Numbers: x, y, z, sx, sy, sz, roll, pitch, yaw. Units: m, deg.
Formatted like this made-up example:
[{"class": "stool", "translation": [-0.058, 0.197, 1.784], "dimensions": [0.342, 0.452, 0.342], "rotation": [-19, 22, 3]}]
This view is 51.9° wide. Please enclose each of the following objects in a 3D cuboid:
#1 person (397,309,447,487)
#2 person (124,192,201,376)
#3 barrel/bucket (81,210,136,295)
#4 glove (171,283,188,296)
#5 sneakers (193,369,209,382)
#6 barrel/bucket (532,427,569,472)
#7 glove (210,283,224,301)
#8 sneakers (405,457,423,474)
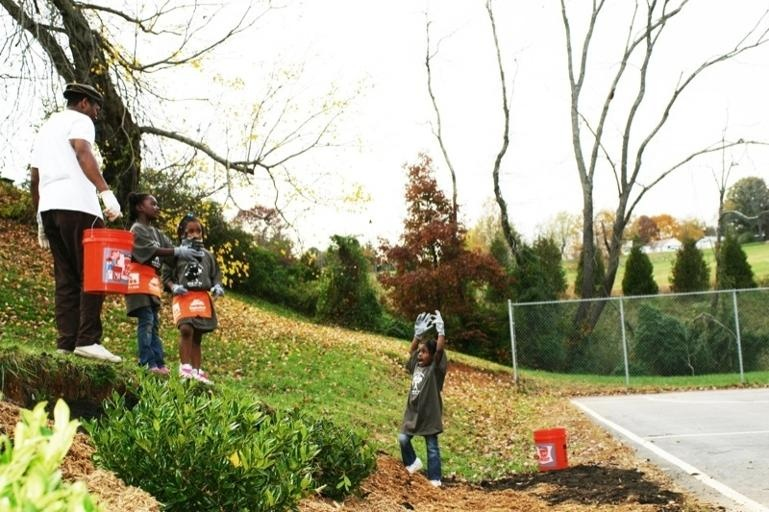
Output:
[{"class": "person", "translation": [0.647, 2.354, 13.401], "dimensions": [0.755, 2.920, 1.141], "rotation": [1, -6, 4]}, {"class": "person", "translation": [-3.842, 0.393, 12.840], "dimensions": [0.762, 2.985, 0.730], "rotation": [3, -7, -19]}, {"class": "barrel/bucket", "translation": [-4.149, 0.057, 11.809], "dimensions": [0.766, 0.839, 0.763], "rotation": [1, -7, 0]}, {"class": "glove", "translation": [-3.384, 0.534, 12.803], "dimensions": [0.331, 0.182, 0.201], "rotation": [-4, -9, 32]}, {"class": "sneakers", "translation": [-2.941, 1.914, 12.558], "dimensions": [0.118, 0.247, 0.250], "rotation": [-19, -15, -10]}, {"class": "barrel/bucket", "translation": [2.825, 3.306, 13.459], "dimensions": [0.628, 0.650, 0.650], "rotation": [-3, -9, -1]}, {"class": "glove", "translation": [-2.805, 0.571, 13.179], "dimensions": [0.146, 0.192, 0.437], "rotation": [0, 10, -7]}, {"class": "sneakers", "translation": [0.501, 3.460, 13.002], "dimensions": [0.134, 0.162, 0.364], "rotation": [-34, -11, 26]}]
